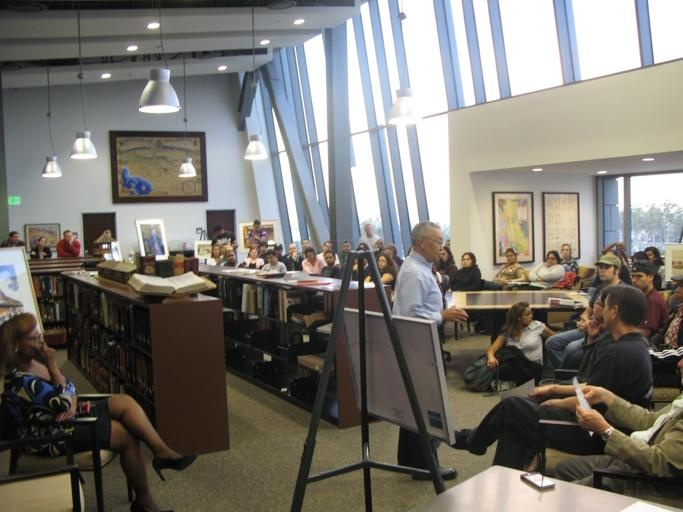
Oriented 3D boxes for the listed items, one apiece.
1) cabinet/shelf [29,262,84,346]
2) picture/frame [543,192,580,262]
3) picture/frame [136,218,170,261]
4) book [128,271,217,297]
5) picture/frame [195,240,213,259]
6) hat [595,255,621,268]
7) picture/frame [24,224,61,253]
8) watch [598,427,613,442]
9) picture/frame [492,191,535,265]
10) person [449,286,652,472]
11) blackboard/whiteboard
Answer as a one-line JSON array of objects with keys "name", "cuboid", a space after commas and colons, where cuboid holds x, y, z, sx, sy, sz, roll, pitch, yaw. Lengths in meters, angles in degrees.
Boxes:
[{"name": "cabinet/shelf", "cuboid": [-3.941, 0.642, 7.517, 0.424, 1.220, 1.240, 1, -2, -29]}, {"name": "picture/frame", "cuboid": [4.333, -0.635, 10.776, 1.208, 1.774, 0.064, -5, 7, -25]}, {"name": "picture/frame", "cuboid": [-4.724, -0.471, 13.459, 0.658, 0.831, 0.716, -4, 3, -21]}, {"name": "book", "cuboid": [-1.539, 0.253, 4.895, 0.706, 0.203, 0.473, -4, 3, -20]}, {"name": "picture/frame", "cuboid": [-3.482, -0.162, 13.680, 0.437, 0.549, 0.074, -2, -24, 7]}, {"name": "hat", "cuboid": [2.939, 0.050, 5.959, 0.210, 0.142, 0.249, -2, 3, 25]}, {"name": "picture/frame", "cuboid": [-7.781, -0.475, 14.004, 0.769, 0.768, 0.053, -3, 10, -25]}, {"name": "watch", "cuboid": [1.472, 0.993, 3.027, 0.058, 0.081, 0.031, -6, 22, -45]}, {"name": "picture/frame", "cuboid": [3.285, -0.600, 10.467, 1.285, 1.904, 0.071, -2, 3, -34]}, {"name": "person", "cuboid": [1.446, 0.972, 3.936, 1.277, 1.552, 0.681, 3, -6, 26]}, {"name": "blackboard/whiteboard", "cuboid": [0.295, 0.655, 3.031, 0.047, 0.655, 0.878, -13, 4, -29]}]
